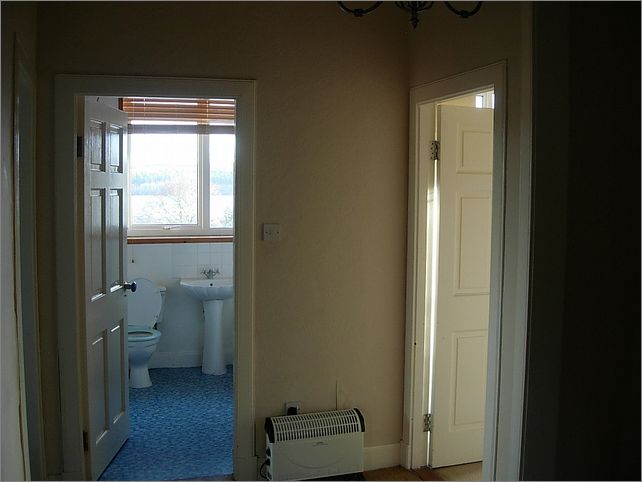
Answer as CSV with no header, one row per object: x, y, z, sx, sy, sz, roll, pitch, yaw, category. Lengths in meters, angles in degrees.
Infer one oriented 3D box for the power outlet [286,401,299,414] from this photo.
-0.160,0.943,3.084,0.059,0.065,0.016,8,-13,-16,power outlet

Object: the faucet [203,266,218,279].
-0.985,0.282,4.866,0.155,0.097,0.065,-2,4,-19,faucet
